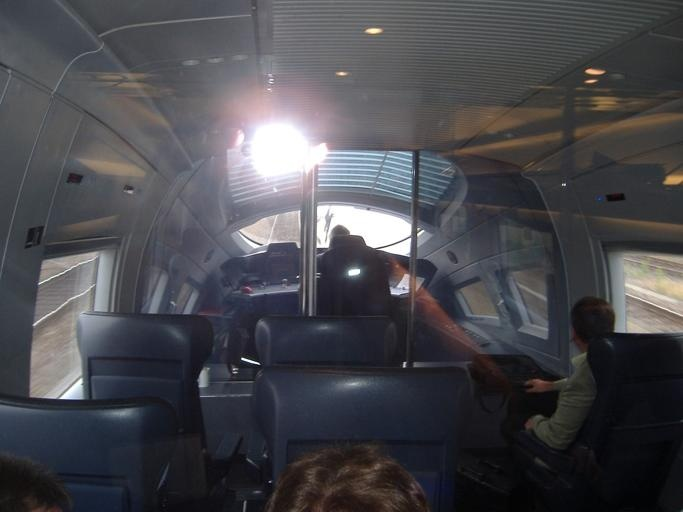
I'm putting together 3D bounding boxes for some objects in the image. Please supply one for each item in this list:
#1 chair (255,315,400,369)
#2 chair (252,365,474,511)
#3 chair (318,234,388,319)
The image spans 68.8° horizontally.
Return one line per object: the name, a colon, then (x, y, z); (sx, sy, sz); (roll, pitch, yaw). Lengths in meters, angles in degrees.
chair: (-0.098, 0.450, 2.884); (0.904, 0.330, 0.294); (2, 15, -8)
chair: (0.071, 0.594, 2.034); (0.815, 0.766, 0.446); (0, 18, -1)
chair: (0.087, 0.121, 4.069); (0.533, 0.775, 0.641); (2, 15, 0)
